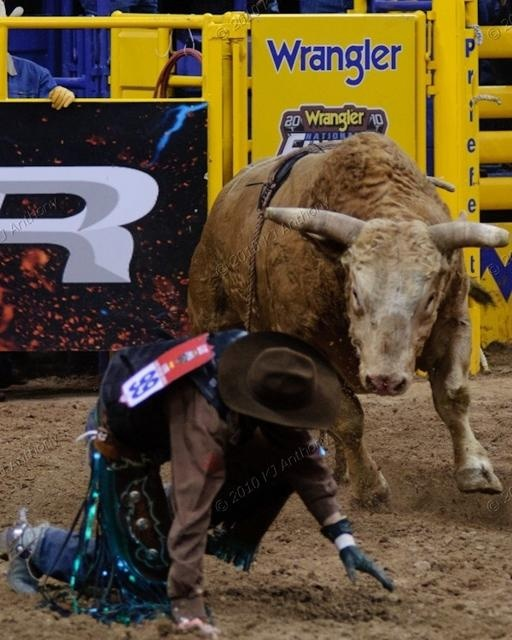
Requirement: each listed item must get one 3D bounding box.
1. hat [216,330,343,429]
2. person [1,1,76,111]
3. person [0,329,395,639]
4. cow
[{"bbox_3d":[0.073,0.198,2.850,0.388,0.286,0.349,-1,6,0],"label":"hat"},{"bbox_3d":[-1.525,-1.794,6.207,0.456,0.734,0.782,-2,6,-15],"label":"person"},{"bbox_3d":[-0.219,0.513,3.025,1.022,0.941,0.785,5,8,44],"label":"person"},{"bbox_3d":[0.420,-0.199,4.483,0.979,1.344,2.457,-3,-3,-14],"label":"cow"}]
